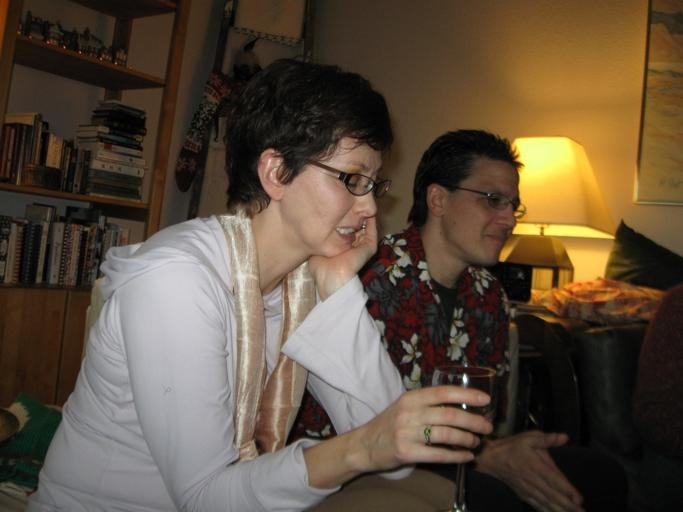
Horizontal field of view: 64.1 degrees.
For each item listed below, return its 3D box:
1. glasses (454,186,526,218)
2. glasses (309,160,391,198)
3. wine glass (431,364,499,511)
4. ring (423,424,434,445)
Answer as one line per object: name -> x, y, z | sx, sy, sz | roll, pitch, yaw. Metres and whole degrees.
glasses -> 0.590, -0.219, 2.110 | 0.177, 0.050, 0.184 | 23, -6, -43
glasses -> 0.029, -0.220, 1.526 | 0.136, 0.042, 0.134 | 32, 6, 21
wine glass -> 0.270, 0.427, 1.292 | 0.145, 0.341, 0.241 | 7, 1, 10
ring -> 0.182, 0.385, 1.171 | 0.030, 0.032, 0.026 | -7, 1, -20
